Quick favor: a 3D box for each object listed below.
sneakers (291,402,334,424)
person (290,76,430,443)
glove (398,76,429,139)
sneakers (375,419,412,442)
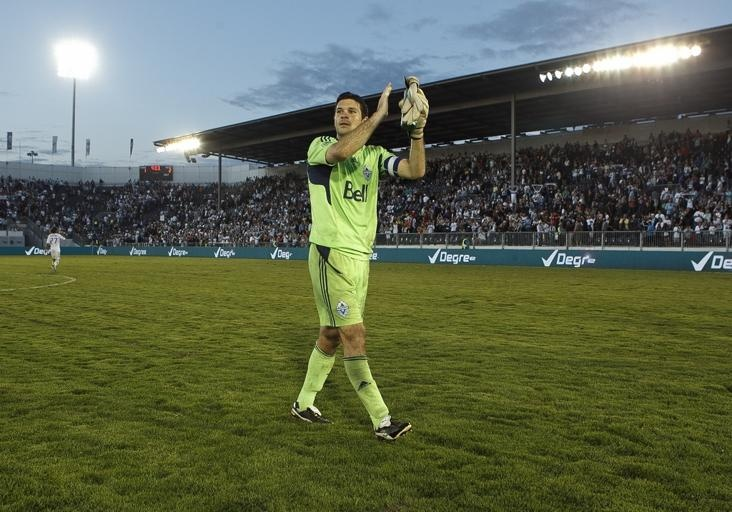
[{"bbox_3d":[-0.503,1.437,5.274,0.406,0.163,0.151,9,-6,2],"label":"sneakers"},{"bbox_3d":[-0.097,0.014,5.029,1.140,3.043,0.881,-1,8,-8],"label":"person"},{"bbox_3d":[0.411,-1.259,4.841,0.243,0.481,0.418,0,8,3],"label":"glove"},{"bbox_3d":[0.228,1.469,4.884,0.326,0.160,0.144,-20,-17,23],"label":"sneakers"}]
